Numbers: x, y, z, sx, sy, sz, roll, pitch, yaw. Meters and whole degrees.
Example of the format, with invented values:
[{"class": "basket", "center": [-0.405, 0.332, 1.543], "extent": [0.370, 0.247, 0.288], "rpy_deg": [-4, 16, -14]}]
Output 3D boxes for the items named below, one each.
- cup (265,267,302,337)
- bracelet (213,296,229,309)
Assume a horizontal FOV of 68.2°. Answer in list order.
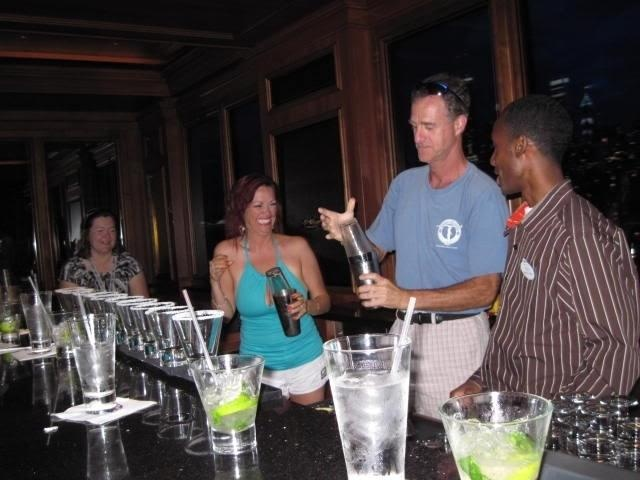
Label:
[{"class": "cup", "center": [-0.176, 0.320, 2.331], "extent": [0.129, 0.282, 0.245], "rpy_deg": [-5, 2, -3]}, {"class": "bracelet", "center": [-0.548, 0.343, 2.592], "extent": [0.064, 0.046, 0.064], "rpy_deg": [0, -2, -5]}]
